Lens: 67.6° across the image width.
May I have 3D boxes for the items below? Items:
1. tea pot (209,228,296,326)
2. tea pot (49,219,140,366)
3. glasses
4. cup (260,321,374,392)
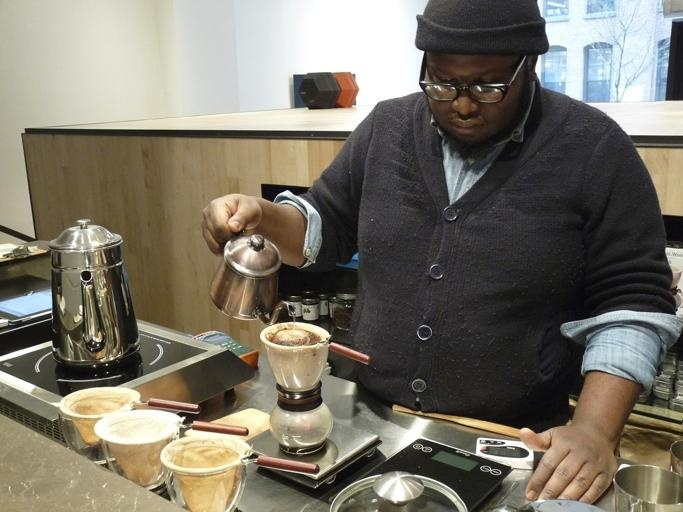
[{"bbox_3d":[-0.198,0.056,1.160,0.191,0.200,0.134,14,25,39],"label":"tea pot"},{"bbox_3d":[-0.618,0.089,1.247,0.198,0.338,0.159,-14,22,-30],"label":"tea pot"},{"bbox_3d":[0.300,-0.404,1.182,0.234,0.104,0.111,4,19,17],"label":"glasses"},{"bbox_3d":[-0.061,0.193,0.961,0.193,0.109,0.130,8,21,28],"label":"cup"}]
